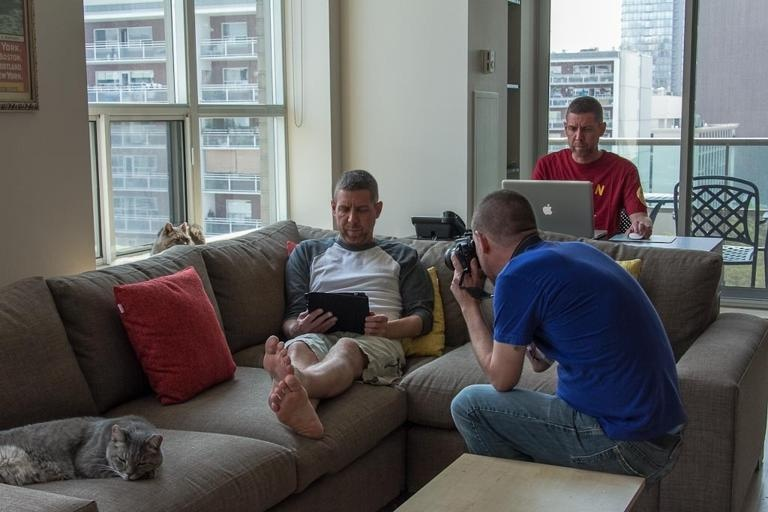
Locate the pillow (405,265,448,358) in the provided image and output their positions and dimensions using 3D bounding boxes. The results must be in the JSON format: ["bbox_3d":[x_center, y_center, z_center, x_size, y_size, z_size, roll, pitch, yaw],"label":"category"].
[{"bbox_3d":[0.229,0.292,3.135,0.360,0.378,0.116,-4,-18,2],"label":"pillow"}]

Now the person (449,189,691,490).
[{"bbox_3d":[0.622,0.295,2.170,0.844,1.049,0.355,3,13,27],"label":"person"}]

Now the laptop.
[{"bbox_3d":[0.961,-0.268,3.491,0.625,0.409,0.513,0,-5,-4],"label":"laptop"}]

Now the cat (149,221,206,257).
[{"bbox_3d":[-1.298,-0.079,3.738,0.223,0.238,0.305,-13,11,-41],"label":"cat"}]

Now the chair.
[{"bbox_3d":[2.820,-0.222,4.996,0.770,1.181,0.738,5,16,24],"label":"chair"}]

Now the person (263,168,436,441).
[{"bbox_3d":[-0.170,0.150,2.955,0.764,1.301,1.490,3,-4,4],"label":"person"}]

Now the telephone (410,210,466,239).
[{"bbox_3d":[0.353,-0.187,3.847,0.191,0.118,0.269,2,6,23],"label":"telephone"}]

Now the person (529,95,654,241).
[{"bbox_3d":[1.392,-0.538,4.257,1.135,1.049,0.608,4,14,36],"label":"person"}]

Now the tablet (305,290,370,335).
[{"bbox_3d":[-0.226,0.284,2.948,0.234,0.257,0.060,0,31,4],"label":"tablet"}]

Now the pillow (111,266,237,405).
[{"bbox_3d":[-0.947,0.366,2.669,0.259,0.484,0.509,-3,7,28],"label":"pillow"}]
